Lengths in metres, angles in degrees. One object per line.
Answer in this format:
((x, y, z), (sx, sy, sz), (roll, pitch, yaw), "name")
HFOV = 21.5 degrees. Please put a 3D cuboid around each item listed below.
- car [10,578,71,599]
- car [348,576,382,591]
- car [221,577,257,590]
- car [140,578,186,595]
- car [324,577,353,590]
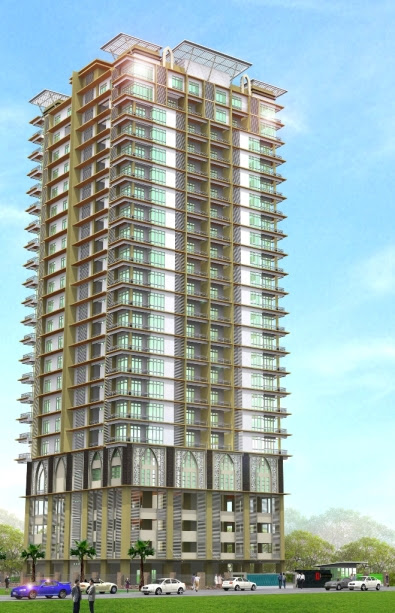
((-12.469, 22.680, 83.384), (4.097, 1.488, 2.178), (11, -22, -34), "car")
((16.792, 27.916, 104.773), (3.265, 1.005, 1.439), (15, -26, -32), "car")
((4.269, 27.722, 103.674), (2.994, 0.957, 1.355), (4, -11, -29), "car")
((-2.908, 24.947, 92.685), (4.034, 1.507, 2.787), (13, -23, -39), "car")
((14.320, 27.990, 104.851), (2.654, 0.874, 1.104), (13, -23, -37), "car")
